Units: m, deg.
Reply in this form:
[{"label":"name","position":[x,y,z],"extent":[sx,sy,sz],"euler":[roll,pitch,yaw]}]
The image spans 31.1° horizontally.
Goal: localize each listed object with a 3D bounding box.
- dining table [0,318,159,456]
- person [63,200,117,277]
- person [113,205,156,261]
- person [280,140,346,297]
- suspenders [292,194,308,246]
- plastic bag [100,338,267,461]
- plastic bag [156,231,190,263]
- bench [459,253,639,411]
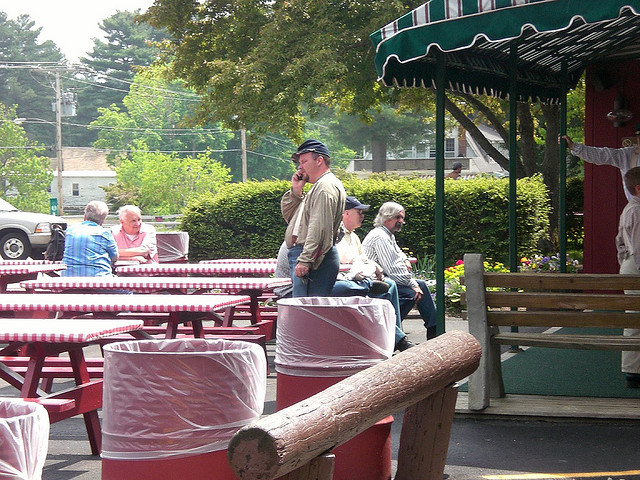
[{"label":"dining table","position":[-2.488,1.335,11.268],"extent":[1.588,0.674,1.404],"euler":[0,0,2]},{"label":"person","position":[-2.997,-0.003,14.982],"extent":[0.688,0.989,0.881],"euler":[0,1,-10]},{"label":"person","position":[-2.593,-0.081,16.128],"extent":[0.577,0.759,0.679],"euler":[0,1,-10]},{"label":"person","position":[-0.057,-0.228,11.964],"extent":[0.682,1.658,0.996],"euler":[0,1,-2]},{"label":"suspenders","position":[-0.210,-0.193,12.022],"extent":[0.075,0.525,0.279],"euler":[0,1,-24]},{"label":"plastic bag","position":[-1.135,1.264,9.242],"extent":[1.106,0.699,1.038],"euler":[-2,-4,33]},{"label":"plastic bag","position":[-2.398,0.105,18.621],"extent":[0.689,0.595,0.167],"euler":[2,-3,-39]},{"label":"bench","position":[2.454,1.056,12.182],"extent":[1.818,0.998,0.696],"euler":[0,-3,12]}]
